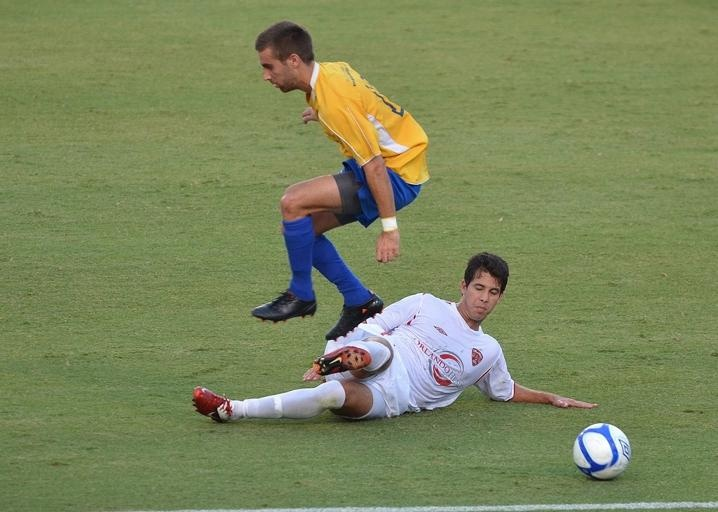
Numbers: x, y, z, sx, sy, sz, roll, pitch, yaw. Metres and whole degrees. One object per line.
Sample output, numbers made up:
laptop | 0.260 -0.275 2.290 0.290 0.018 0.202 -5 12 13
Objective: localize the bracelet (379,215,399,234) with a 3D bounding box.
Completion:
bracelet | 0.215 -0.235 11.088 0.133 0.098 0.113 -1 3 6

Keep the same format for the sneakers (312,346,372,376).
sneakers | -0.124 0.748 10.611 0.361 0.108 0.194 -11 -15 5

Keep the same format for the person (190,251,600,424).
person | 0.334 0.733 11.004 2.220 0.844 1.528 -7 13 -35
